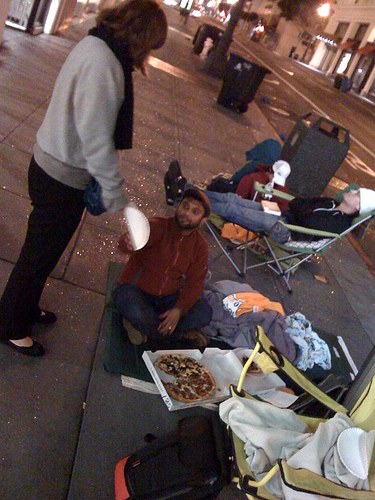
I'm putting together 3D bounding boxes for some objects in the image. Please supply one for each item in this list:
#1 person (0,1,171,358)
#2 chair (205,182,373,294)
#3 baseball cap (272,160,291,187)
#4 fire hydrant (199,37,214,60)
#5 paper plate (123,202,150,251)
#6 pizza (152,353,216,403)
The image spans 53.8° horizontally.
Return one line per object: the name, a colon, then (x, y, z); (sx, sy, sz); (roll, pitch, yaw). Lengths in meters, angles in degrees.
person: (-0.617, -0.247, 1.930); (0.430, 2.022, 0.515); (8, 35, -37)
chair: (1.124, -0.298, 4.645); (1.931, 1.262, 1.143); (22, 19, -27)
baseball cap: (1.237, -1.046, 4.904); (0.234, 0.183, 0.328); (7, 77, -20)
fire hydrant: (0.846, -8.562, 15.561); (0.421, 0.855, 0.748); (23, 28, -13)
paper plate: (-0.244, -0.118, 1.776); (0.125, 0.232, 0.125); (-1, 28, -14)
pizza: (-0.001, 0.832, 2.430); (0.400, 0.094, 0.401); (13, 31, -26)
